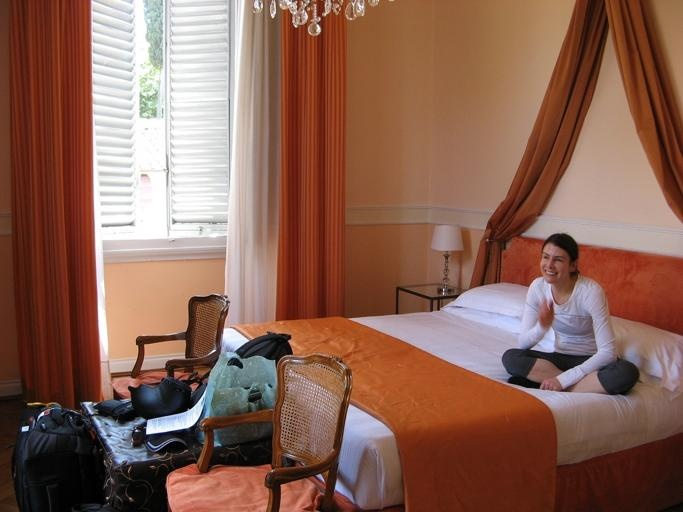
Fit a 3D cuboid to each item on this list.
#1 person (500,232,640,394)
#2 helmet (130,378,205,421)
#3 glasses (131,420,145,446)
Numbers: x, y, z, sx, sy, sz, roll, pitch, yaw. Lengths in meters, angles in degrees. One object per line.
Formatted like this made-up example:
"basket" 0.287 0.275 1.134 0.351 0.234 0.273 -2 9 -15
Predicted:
"person" 1.364 0.338 3.003 0.522 0.877 0.755 -1 -2 -40
"helmet" -0.955 0.762 2.801 0.292 0.146 0.228 -2 -1 -39
"glasses" -1.026 0.897 2.590 0.052 0.037 0.094 -3 10 -21
